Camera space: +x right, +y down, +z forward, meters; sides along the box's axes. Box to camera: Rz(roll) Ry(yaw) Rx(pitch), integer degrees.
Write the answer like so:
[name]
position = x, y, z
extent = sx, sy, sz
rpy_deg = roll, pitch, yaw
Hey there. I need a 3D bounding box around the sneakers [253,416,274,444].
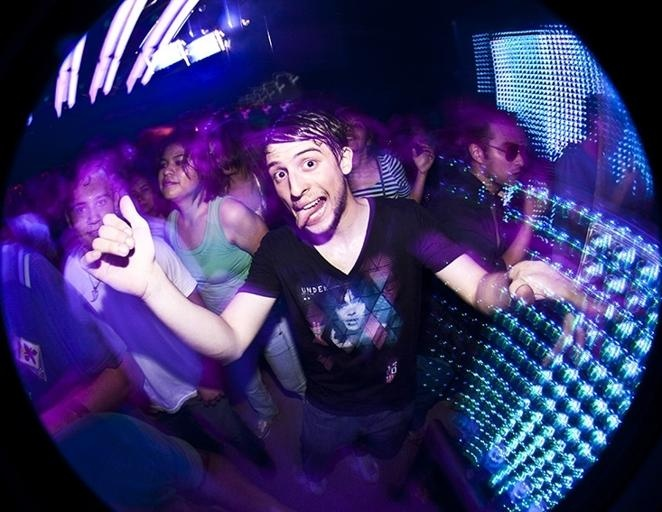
[sneakers]
position = -0.475, 1.187, 3.408
extent = 0.066, 0.188, 0.072
rpy_deg = -5, -10, 39
